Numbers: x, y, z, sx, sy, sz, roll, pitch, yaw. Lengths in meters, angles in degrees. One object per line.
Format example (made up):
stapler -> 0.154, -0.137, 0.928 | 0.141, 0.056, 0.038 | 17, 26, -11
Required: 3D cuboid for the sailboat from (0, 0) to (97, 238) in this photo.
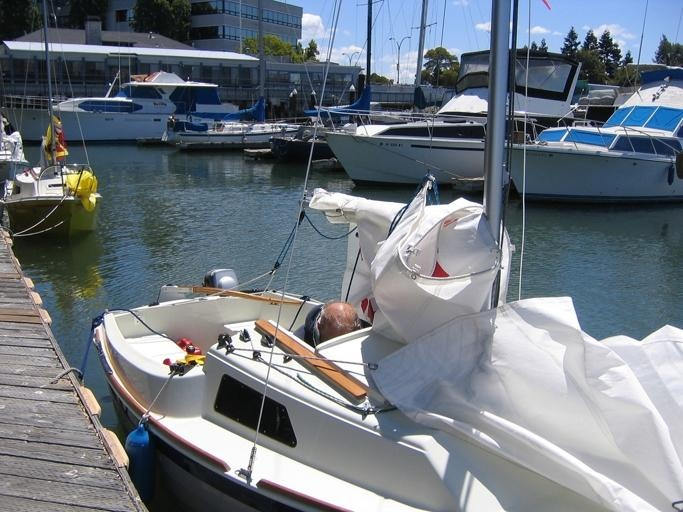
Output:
sailboat -> -7.469, -3.588, 14.729 | 2.297, 5.355, 4.746 | -5, 20, -22
